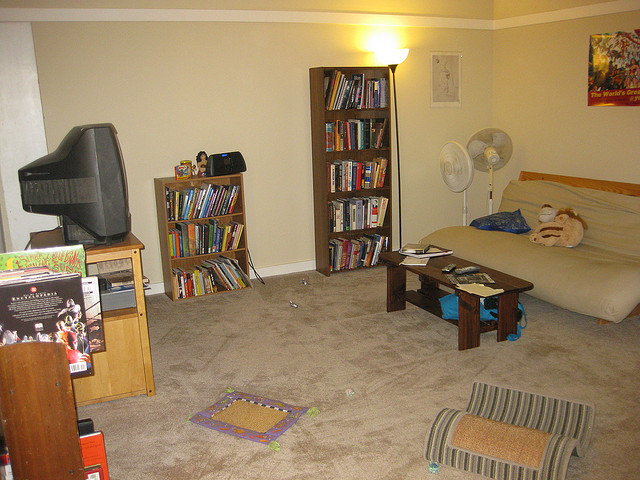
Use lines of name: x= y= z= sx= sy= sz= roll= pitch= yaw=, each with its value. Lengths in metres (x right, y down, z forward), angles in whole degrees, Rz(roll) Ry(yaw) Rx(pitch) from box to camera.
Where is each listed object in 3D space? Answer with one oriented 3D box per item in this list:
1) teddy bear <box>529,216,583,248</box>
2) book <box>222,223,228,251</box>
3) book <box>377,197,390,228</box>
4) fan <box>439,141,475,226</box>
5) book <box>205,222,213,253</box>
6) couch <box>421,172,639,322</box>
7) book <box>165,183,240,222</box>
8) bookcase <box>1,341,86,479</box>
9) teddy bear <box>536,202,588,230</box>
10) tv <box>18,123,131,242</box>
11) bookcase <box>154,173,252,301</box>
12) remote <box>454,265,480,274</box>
teddy bear: x=2.243 y=-0.068 z=4.719 sx=0.356 sy=0.145 sz=0.327 roll=-18 pitch=37 yaw=-6
book: x=-0.981 y=-0.018 z=5.192 sx=0.043 sy=0.244 sz=0.223 roll=0 pitch=12 yaw=-14
book: x=0.732 y=-0.324 z=5.828 sx=0.066 sy=0.263 sz=0.264 roll=11 pitch=13 yaw=10
fan: x=1.399 y=-0.739 z=5.063 sx=0.143 sy=0.489 sz=0.424 roll=-9 pitch=13 yaw=-22
book: x=-1.127 y=-0.013 z=5.110 sx=0.049 sy=0.273 sz=0.248 roll=-2 pitch=13 yaw=-18
couch: x=2.366 y=0.030 z=4.699 sx=1.397 sy=0.714 sz=1.731 roll=-12 pitch=21 yaw=-35
book: x=-1.184 y=-0.431 z=5.220 sx=0.268 sy=0.351 sz=0.731 roll=17 pitch=14 yaw=28
bookcase: x=-1.101 y=0.690 z=1.974 sx=0.262 sy=0.591 sz=0.117 roll=-9 pitch=14 yaw=-22
teddy bear: x=2.367 y=-0.238 z=4.927 sx=0.351 sy=0.131 sz=0.227 roll=10 pitch=20 yaw=39
tv: x=-1.641 y=-0.372 z=3.483 sx=0.762 sy=0.743 sz=0.790 roll=-3 pitch=11 yaw=-7
bookcase: x=-1.233 y=-0.016 z=5.126 sx=1.181 sy=1.656 sz=0.512 roll=-7 pitch=13 yaw=-28
remote: x=1.213 y=0.244 z=4.120 sx=0.151 sy=0.025 sz=0.083 roll=-6 pitch=12 yaw=-24
